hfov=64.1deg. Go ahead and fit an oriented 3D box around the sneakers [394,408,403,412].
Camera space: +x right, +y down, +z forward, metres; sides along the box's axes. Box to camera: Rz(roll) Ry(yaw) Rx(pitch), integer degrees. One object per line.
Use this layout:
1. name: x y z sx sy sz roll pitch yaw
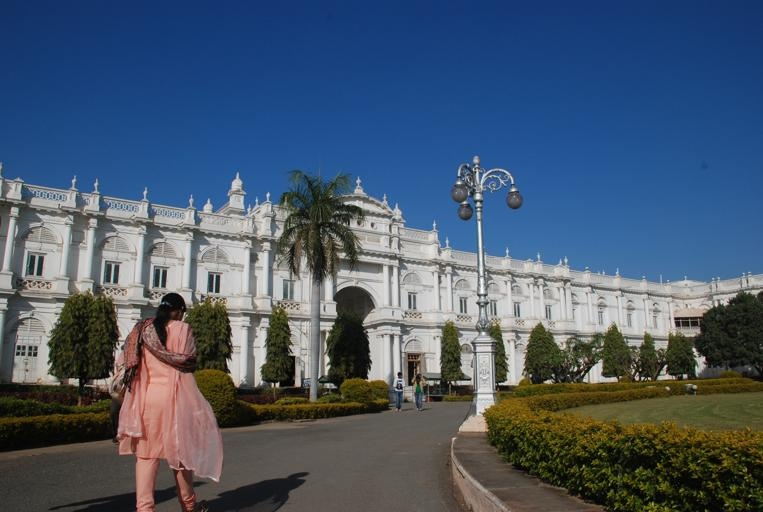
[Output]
1. sneakers: 0.924 8.029 31.471 0.187 0.196 0.470 3 -23 -3
